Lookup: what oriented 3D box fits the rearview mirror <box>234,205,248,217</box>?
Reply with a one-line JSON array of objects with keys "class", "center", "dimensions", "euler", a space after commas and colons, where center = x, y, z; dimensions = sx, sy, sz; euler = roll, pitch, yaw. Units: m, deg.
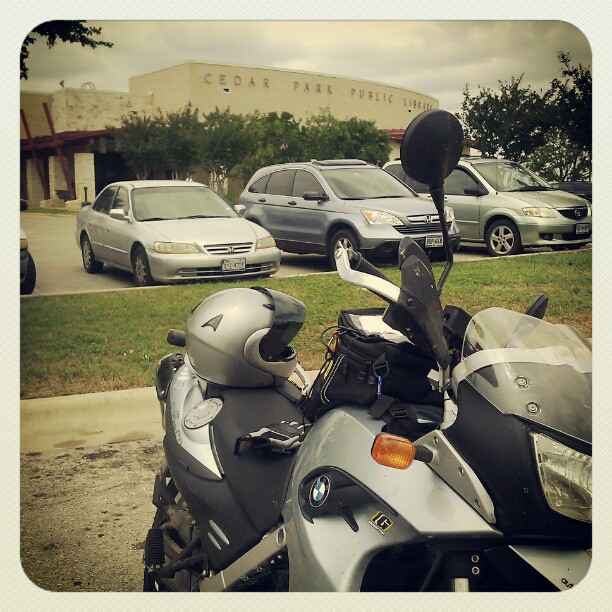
[{"class": "rearview mirror", "center": [-0.835, -1.228, 8.990], "dimensions": [0.133, 0.230, 0.194], "euler": [-5, 2, -35]}]

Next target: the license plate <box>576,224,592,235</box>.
[{"class": "license plate", "center": [3.618, -1.000, 9.262], "dimensions": [0.321, 0.174, 0.031], "euler": [-12, 16, -35]}]

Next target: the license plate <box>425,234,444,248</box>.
[{"class": "license plate", "center": [1.531, -0.772, 8.488], "dimensions": [0.198, 0.179, 0.349], "euler": [3, 16, 13]}]

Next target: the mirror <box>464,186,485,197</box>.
[{"class": "mirror", "center": [2.345, -1.609, 9.932], "dimensions": [0.263, 0.132, 0.113], "euler": [4, 14, 16]}]

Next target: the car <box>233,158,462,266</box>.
[{"class": "car", "center": [0.364, -1.249, 9.268], "dimensions": [1.515, 1.650, 2.991], "euler": [-3, 7, -36]}]

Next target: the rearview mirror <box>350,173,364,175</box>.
[{"class": "rearview mirror", "center": [0.673, -1.758, 9.404], "dimensions": [0.202, 0.022, 0.036], "euler": [-7, 16, -21]}]

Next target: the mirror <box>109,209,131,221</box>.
[{"class": "mirror", "center": [-2.087, -1.032, 7.960], "dimensions": [0.202, 0.122, 0.060], "euler": [27, 1, 0]}]

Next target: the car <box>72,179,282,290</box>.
[{"class": "car", "center": [-1.677, -0.829, 8.196], "dimensions": [1.186, 1.069, 2.110], "euler": [-2, 6, -33]}]

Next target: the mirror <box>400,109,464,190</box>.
[{"class": "mirror", "center": [0.391, -0.490, 2.229], "dimensions": [0.298, 0.251, 0.111], "euler": [-14, 18, -42]}]

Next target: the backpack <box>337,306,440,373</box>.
[{"class": "backpack", "center": [0.224, 0.104, 2.222], "dimensions": [0.214, 0.114, 0.197], "euler": [17, 15, 1]}]
